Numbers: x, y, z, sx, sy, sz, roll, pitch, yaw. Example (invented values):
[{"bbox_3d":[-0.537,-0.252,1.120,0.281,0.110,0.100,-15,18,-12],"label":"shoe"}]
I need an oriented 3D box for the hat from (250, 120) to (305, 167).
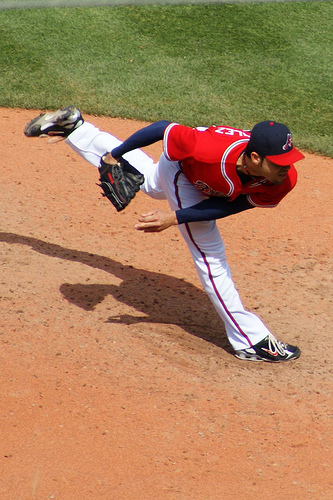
[{"bbox_3d":[0.628,-0.617,3.201,0.345,0.178,0.224,25,42,17],"label":"hat"}]

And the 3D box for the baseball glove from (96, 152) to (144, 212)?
[{"bbox_3d":[-0.326,-0.480,4.077,0.266,0.180,0.442,7,34,-50],"label":"baseball glove"}]

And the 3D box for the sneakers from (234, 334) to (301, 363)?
[{"bbox_3d":[0.722,0.710,4.132,0.543,0.183,0.187,-1,15,-3],"label":"sneakers"}]

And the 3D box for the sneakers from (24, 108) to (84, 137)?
[{"bbox_3d":[-0.898,-0.994,4.453,0.388,0.128,0.262,-9,19,13],"label":"sneakers"}]
